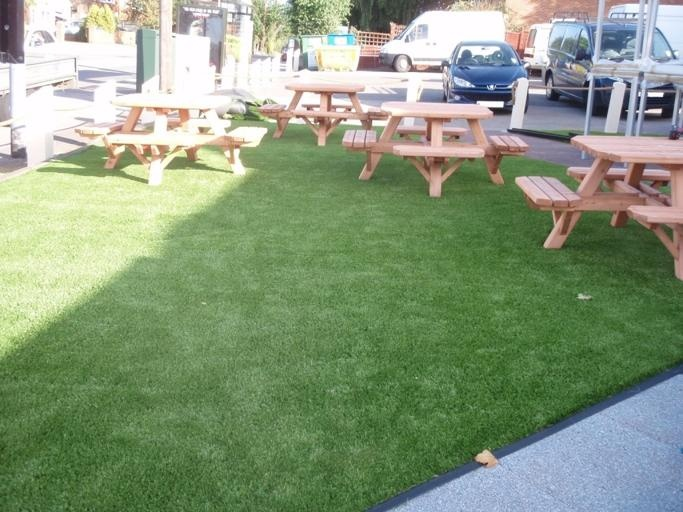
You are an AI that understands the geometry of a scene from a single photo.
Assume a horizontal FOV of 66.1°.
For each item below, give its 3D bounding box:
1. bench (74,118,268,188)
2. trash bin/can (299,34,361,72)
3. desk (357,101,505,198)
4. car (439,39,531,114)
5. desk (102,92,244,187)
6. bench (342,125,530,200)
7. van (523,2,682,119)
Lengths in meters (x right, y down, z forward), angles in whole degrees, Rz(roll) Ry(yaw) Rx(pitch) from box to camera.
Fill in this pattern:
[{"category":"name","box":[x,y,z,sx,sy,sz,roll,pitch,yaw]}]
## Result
[{"category":"bench","box":[-2.300,-1.495,7.081,1.720,0.413,1.634,3,22,2]},{"category":"trash bin/can","box":[-0.834,-11.698,30.818,3.680,1.456,2.464,7,26,15]},{"category":"desk","box":[1.175,-1.509,7.430,1.844,0.776,1.728,1,27,0]},{"category":"car","box":[4.168,-5.360,15.447,2.202,1.936,2.645,5,17,9]},{"category":"desk","box":[-2.461,-1.714,7.236,1.858,0.884,1.897,7,24,5]},{"category":"bench","box":[1.256,-1.367,7.431,2.395,0.790,1.764,-3,17,-18]},{"category":"van","box":[8.136,-5.848,15.652,2.724,3.144,6.263,5,16,9]}]
